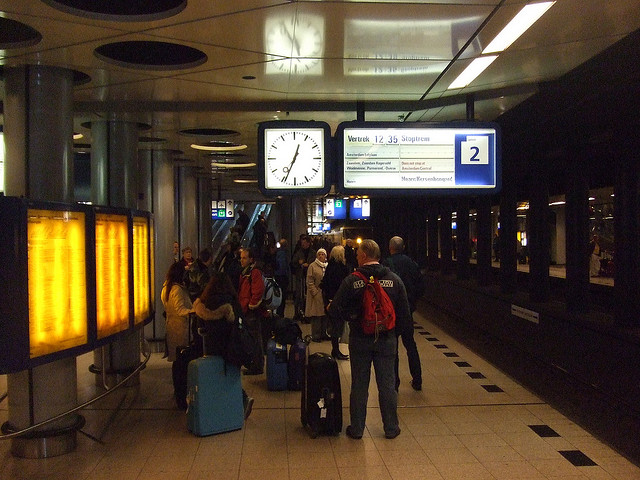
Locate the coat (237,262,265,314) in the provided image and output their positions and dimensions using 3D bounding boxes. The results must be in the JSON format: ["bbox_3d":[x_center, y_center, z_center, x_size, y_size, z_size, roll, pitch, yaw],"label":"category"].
[{"bbox_3d":[-1.024,0.758,8.908,0.377,0.703,0.309,-1,3,-5],"label":"coat"}]

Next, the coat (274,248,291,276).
[{"bbox_3d":[-0.814,0.509,13.683,0.397,0.894,0.604,0,0,5],"label":"coat"}]

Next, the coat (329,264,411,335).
[{"bbox_3d":[0.644,0.684,6.931,0.847,0.974,0.543,0,30,0],"label":"coat"}]

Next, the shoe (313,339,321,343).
[{"bbox_3d":[-0.058,1.871,10.927,0.134,0.053,0.045,0,4,10],"label":"shoe"}]

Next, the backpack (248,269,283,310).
[{"bbox_3d":[-0.821,0.773,9.311,0.575,0.736,0.468,0,2,-5],"label":"backpack"}]

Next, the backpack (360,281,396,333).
[{"bbox_3d":[0.608,0.785,6.783,0.344,0.584,0.512,-3,-10,0],"label":"backpack"}]

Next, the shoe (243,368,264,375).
[{"bbox_3d":[-1.030,2.046,9.199,0.334,0.113,0.144,-2,4,-21],"label":"shoe"}]

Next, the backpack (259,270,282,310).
[{"bbox_3d":[-0.722,0.840,9.246,0.498,0.607,0.396,1,0,3],"label":"backpack"}]

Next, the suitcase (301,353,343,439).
[{"bbox_3d":[0.141,1.838,7.036,0.374,0.847,0.574,0,5,14],"label":"suitcase"}]

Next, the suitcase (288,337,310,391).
[{"bbox_3d":[-0.266,1.838,8.553,0.376,0.700,0.432,1,-12,-19],"label":"suitcase"}]

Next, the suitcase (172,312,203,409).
[{"bbox_3d":[-1.792,1.509,7.731,0.296,1.041,0.275,0,-2,-12],"label":"suitcase"}]

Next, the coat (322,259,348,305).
[{"bbox_3d":[0.205,0.653,9.432,0.416,0.653,0.231,1,9,-8],"label":"coat"}]

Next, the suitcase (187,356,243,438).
[{"bbox_3d":[-1.243,1.857,6.929,0.749,1.154,0.356,2,-4,-35],"label":"suitcase"}]

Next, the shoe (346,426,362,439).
[{"bbox_3d":[0.379,2.246,6.869,0.070,0.095,0.214,1,4,-6],"label":"shoe"}]

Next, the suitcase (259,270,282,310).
[{"bbox_3d":[-0.731,0.833,9.032,0.441,0.552,0.357,1,-1,-1],"label":"suitcase"}]

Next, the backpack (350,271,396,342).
[{"bbox_3d":[0.723,0.727,6.777,0.395,0.691,0.359,-8,12,26],"label":"backpack"}]

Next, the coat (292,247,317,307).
[{"bbox_3d":[-0.354,0.909,13.553,0.463,1.546,0.445,1,23,-4],"label":"coat"}]

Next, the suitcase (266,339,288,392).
[{"bbox_3d":[-0.600,1.852,8.661,0.291,0.621,0.603,-12,-1,-13],"label":"suitcase"}]

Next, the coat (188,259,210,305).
[{"bbox_3d":[-1.735,0.604,8.449,0.221,0.804,0.425,-9,19,-29],"label":"coat"}]
